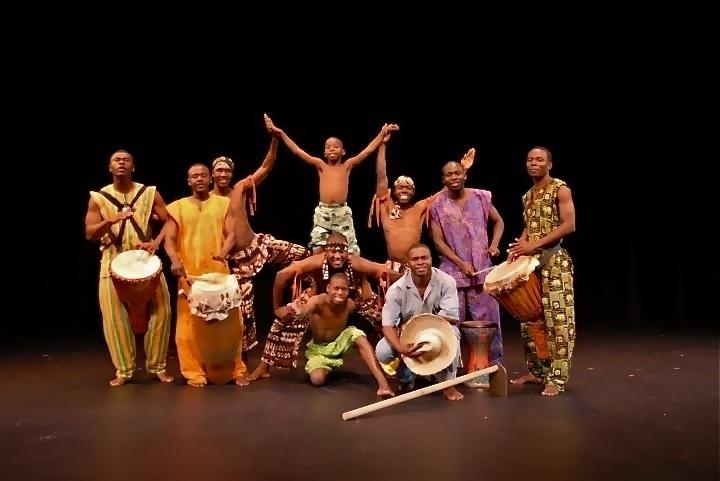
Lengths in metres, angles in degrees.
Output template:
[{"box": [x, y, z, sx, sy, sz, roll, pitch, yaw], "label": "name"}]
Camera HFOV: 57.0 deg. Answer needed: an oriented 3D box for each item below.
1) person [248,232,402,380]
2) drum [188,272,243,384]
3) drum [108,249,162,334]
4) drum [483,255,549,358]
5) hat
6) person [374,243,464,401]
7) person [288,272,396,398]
[{"box": [-0.324, 0.654, 6.250, 1.424, 1.017, 0.644, 0, 9, -4], "label": "person"}, {"box": [-1.258, 0.744, 5.813, 0.458, 0.773, 0.515, -13, 23, -40], "label": "drum"}, {"box": [-1.942, 0.473, 5.864, 0.408, 0.773, 0.366, -1, 8, -3], "label": "drum"}, {"box": [1.489, 0.642, 5.760, 0.526, 0.782, 0.482, -25, -11, -5], "label": "drum"}, {"box": [0.566, 0.859, 5.371, 0.460, 0.519, 0.258, -1, 8, -4], "label": "hat"}, {"box": [0.536, 0.716, 5.592, 0.782, 1.241, 0.873, 2, 17, 19], "label": "person"}, {"box": [-0.193, 0.786, 6.037, 0.840, 0.999, 1.519, -3, 6, -1], "label": "person"}]
